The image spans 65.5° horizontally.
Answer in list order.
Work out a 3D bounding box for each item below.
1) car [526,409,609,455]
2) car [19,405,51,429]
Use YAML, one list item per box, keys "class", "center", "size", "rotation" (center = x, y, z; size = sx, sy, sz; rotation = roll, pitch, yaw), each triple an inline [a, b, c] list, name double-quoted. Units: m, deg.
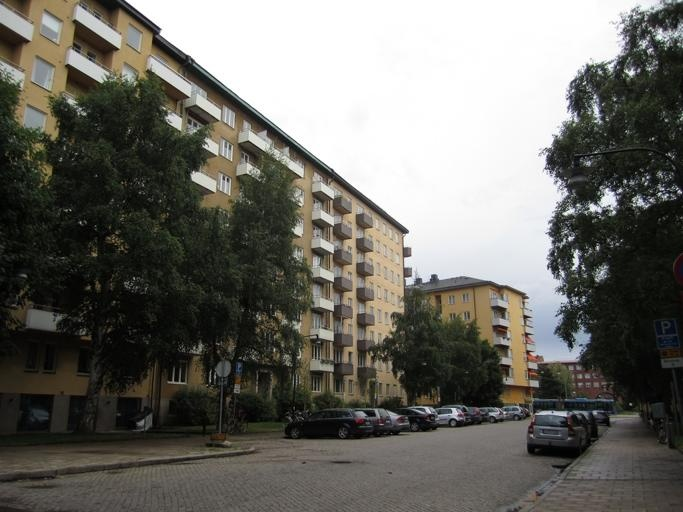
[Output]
- class: "car"
  center: [9.771, 7.690, 23.475]
  size: [1.656, 1.325, 3.713]
  rotation: [-8, -14, 27]
- class: "car"
  center: [-18.049, 9.008, 31.097]
  size: [1.059, 1.477, 1.985]
  rotation: [-9, -14, 17]
